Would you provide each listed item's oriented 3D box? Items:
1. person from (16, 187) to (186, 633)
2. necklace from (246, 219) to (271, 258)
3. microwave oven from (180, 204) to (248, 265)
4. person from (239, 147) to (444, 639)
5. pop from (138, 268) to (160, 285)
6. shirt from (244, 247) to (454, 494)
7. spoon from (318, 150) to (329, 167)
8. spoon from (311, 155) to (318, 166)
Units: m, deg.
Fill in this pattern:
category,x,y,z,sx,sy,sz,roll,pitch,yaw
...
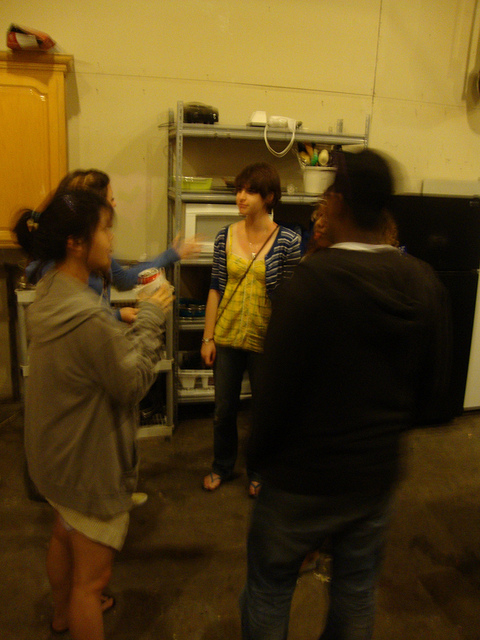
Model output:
category,x,y,z,sx,sy,sz,roll,pitch,yaw
person,-0.384,0.273,1.473,0.356,1.217,0.874,-6,13,-15
necklace,0.072,-0.298,2.008,0.049,0.161,0.004,15,-25,44
microwave oven,-0.070,-0.404,2.694,0.344,0.305,0.249,5,6,21
person,0.157,0.217,0.948,0.358,0.976,0.213,3,14,19
pop,-0.198,-0.094,1.190,0.050,0.029,0.067,-9,15,-30
shirt,0.204,0.087,0.902,0.370,0.420,0.162,-4,13,-11
spoon,0.407,-0.790,2.644,0.039,0.061,0.063,2,4,-31
spoon,0.365,-0.791,2.685,0.010,0.040,0.044,8,17,43
